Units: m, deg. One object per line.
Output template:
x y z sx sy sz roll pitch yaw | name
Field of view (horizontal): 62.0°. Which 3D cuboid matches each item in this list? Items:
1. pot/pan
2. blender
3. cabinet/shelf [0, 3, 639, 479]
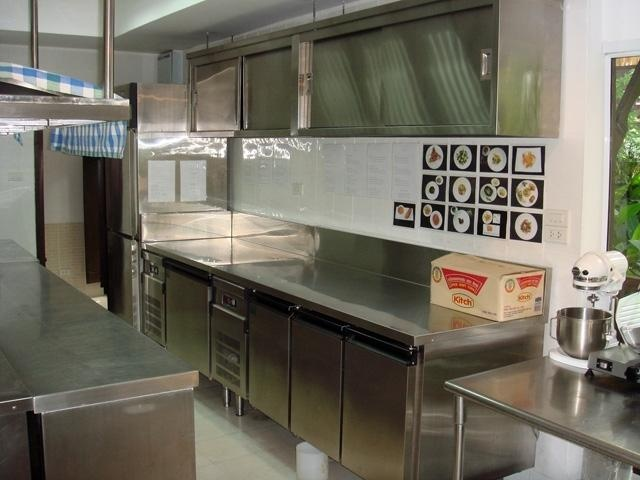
1.154 0.420 2.348 0.230 0.188 0.248 -6 7 -43 | pot/pan
1.200 0.286 2.363 0.384 0.482 0.323 -7 8 -28 | blender
0.061 -0.011 2.948 0.948 1.707 3.198 6 4 -41 | cabinet/shelf
